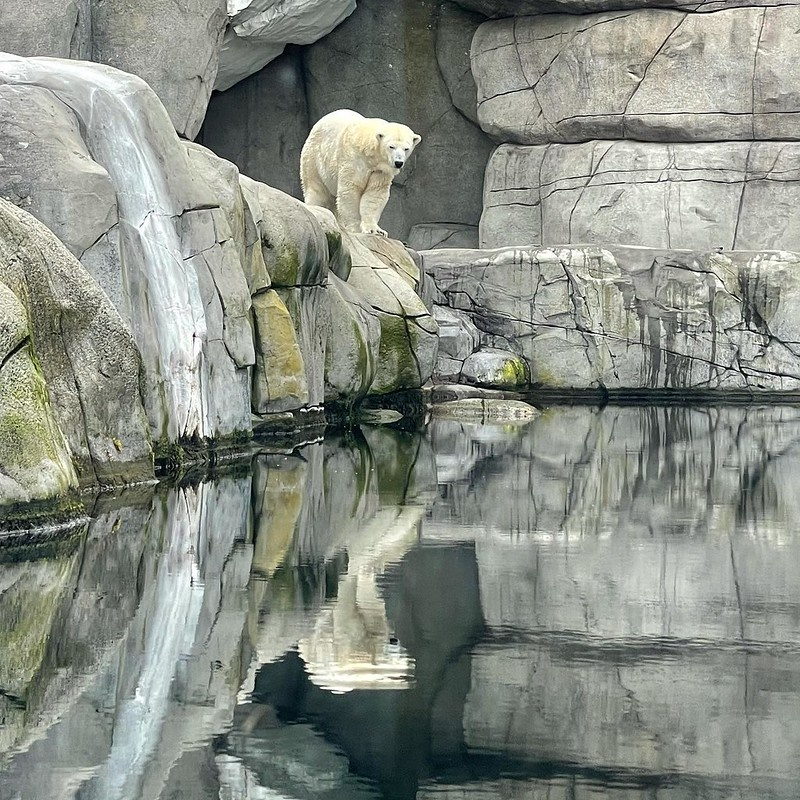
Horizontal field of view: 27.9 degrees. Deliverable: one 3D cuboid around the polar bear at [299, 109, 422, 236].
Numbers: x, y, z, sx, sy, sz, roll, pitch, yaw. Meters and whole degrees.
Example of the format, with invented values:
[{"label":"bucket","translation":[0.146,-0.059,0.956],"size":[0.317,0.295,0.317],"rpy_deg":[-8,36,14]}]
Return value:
[{"label":"polar bear","translation":[-0.367,-1.716,12.158],"size":[0.371,0.872,1.106],"rpy_deg":[-6,17,-42]}]
